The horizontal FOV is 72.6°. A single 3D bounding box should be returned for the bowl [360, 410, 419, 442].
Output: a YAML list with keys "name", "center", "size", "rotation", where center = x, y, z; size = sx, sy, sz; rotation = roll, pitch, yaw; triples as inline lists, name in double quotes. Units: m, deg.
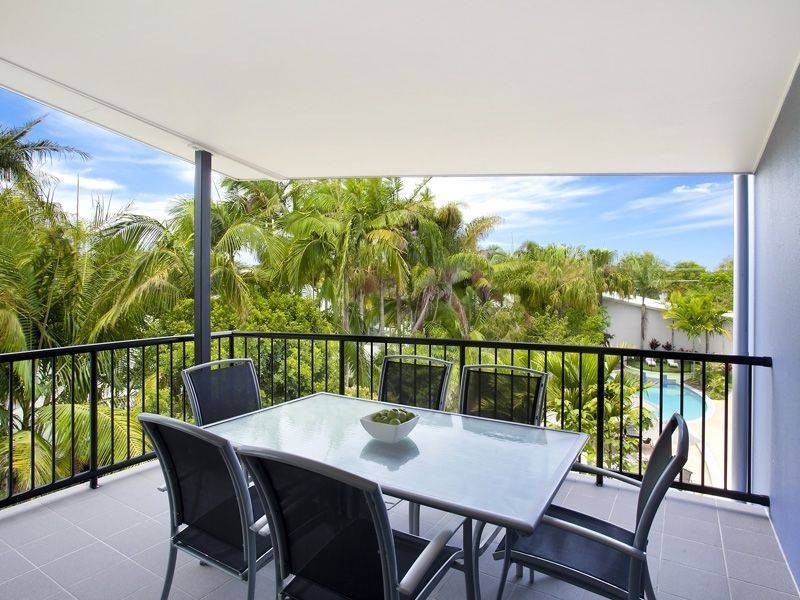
- name: "bowl"
  center: [-0.066, 0.672, 3.061]
  size: [0.225, 0.109, 0.187]
  rotation: [-4, -5, 34]

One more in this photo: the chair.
- name: "chair"
  center: [0.143, 0.958, 3.232]
  size: [2.664, 1.267, 1.483]
  rotation: [1, -5, 10]
